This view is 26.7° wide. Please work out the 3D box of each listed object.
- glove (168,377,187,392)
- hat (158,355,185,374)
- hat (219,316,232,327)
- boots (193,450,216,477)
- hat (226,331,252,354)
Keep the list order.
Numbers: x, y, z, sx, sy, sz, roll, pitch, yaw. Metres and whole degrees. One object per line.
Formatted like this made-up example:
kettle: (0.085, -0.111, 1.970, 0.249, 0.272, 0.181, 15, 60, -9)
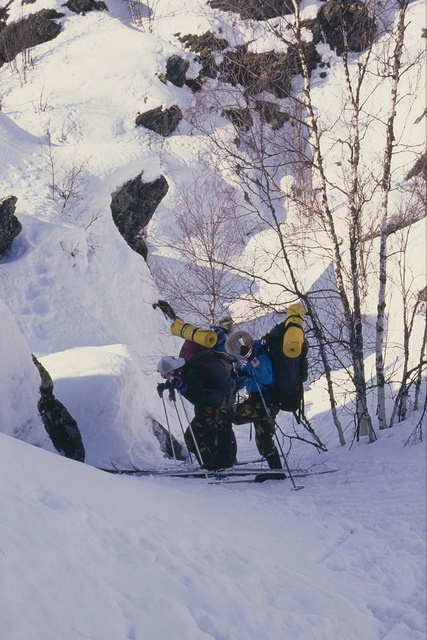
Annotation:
glove: (-0.531, 0.923, 13.006, 0.112, 0.119, 0.374, 18, 0, 39)
hat: (-0.614, 0.659, 12.949, 0.342, 0.172, 0.229, -21, 31, 13)
hat: (0.191, 0.063, 14.044, 0.135, 0.181, 0.184, -19, 28, -22)
boots: (-0.135, 2.182, 13.706, 0.122, 0.320, 0.237, -1, -19, -15)
hat: (0.369, 0.312, 12.899, 0.422, 0.365, 0.315, -9, 13, 3)
